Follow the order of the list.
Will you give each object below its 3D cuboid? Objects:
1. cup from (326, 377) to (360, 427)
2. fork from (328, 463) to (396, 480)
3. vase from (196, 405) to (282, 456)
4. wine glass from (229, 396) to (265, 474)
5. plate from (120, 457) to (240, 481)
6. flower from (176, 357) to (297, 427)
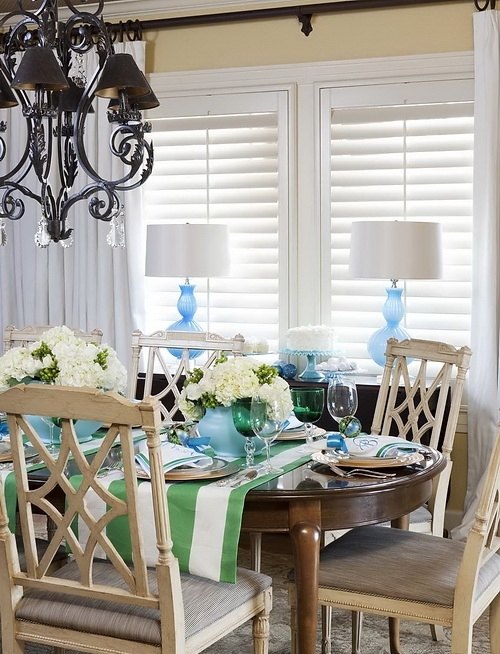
[{"bbox_3d":[0.244,0.203,1.633,0.071,0.138,0.153,1,10,8],"label":"cup"},{"bbox_3d":[0.257,0.337,1.418,0.127,0.018,0.018,1,2,23],"label":"fork"},{"bbox_3d":[-0.063,0.268,1.630,0.132,0.098,0.145,1,-2,-12],"label":"vase"},{"bbox_3d":[-0.012,0.261,1.519,0.132,0.212,0.140,-1,-3,-1],"label":"wine glass"},{"bbox_3d":[-0.151,0.298,1.270,0.135,0.010,0.134,-1,1,-16],"label":"plate"},{"bbox_3d":[-0.052,0.157,1.549,0.232,0.166,0.179,-4,-2,11],"label":"flower"}]
